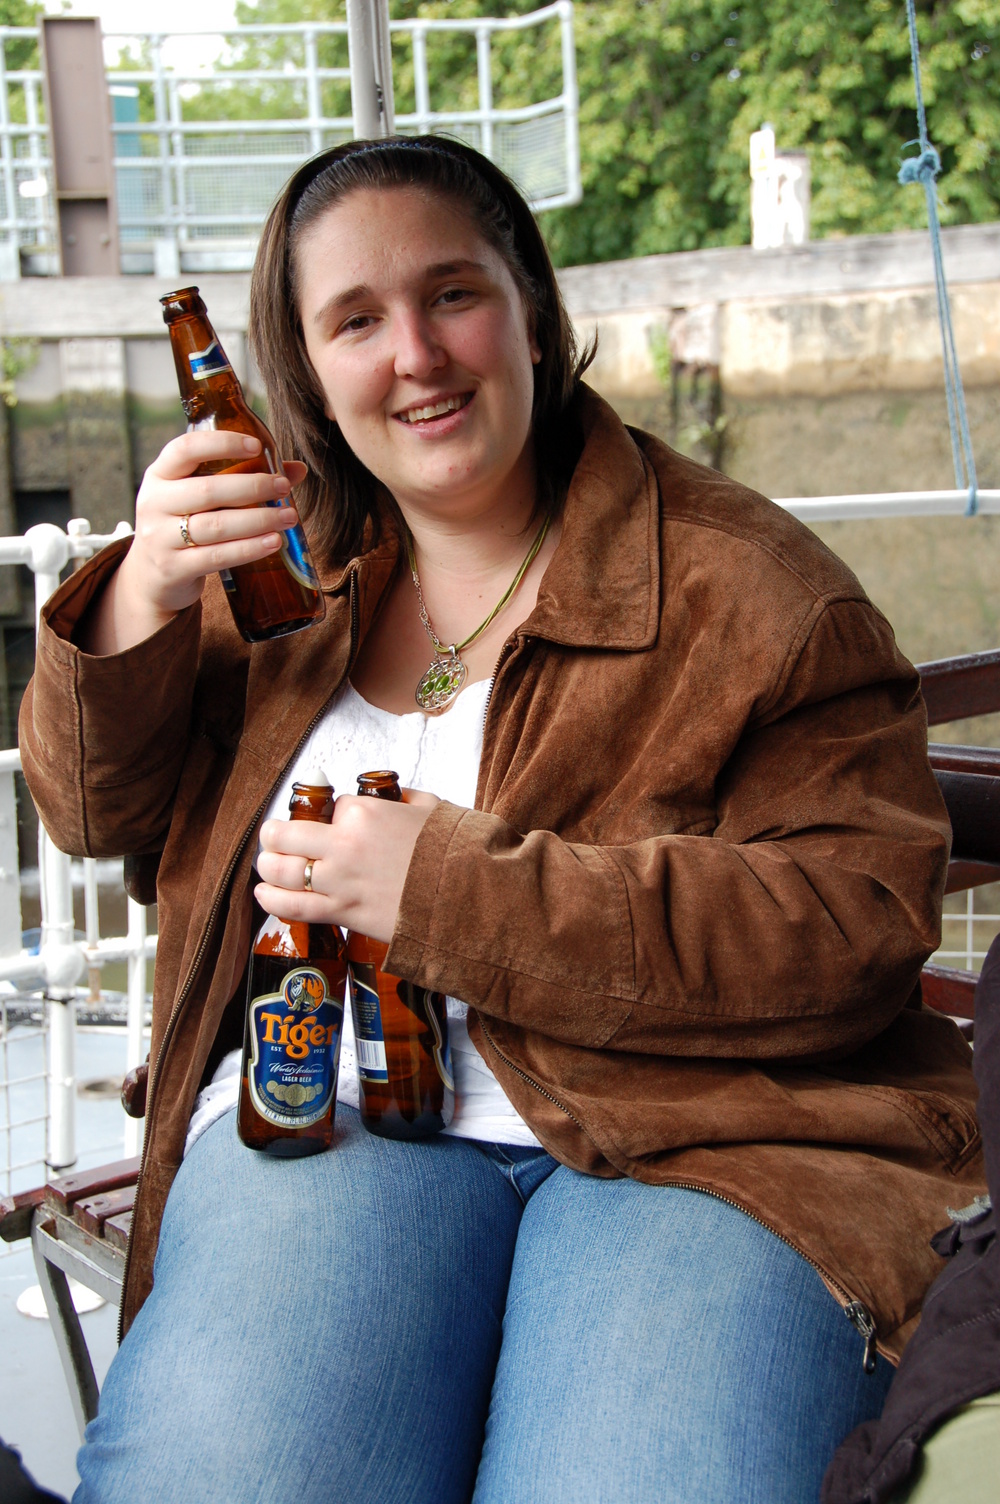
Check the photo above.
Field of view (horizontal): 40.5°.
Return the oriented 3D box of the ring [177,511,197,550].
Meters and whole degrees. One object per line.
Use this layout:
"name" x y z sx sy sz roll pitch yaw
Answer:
"ring" -0.283 -0.200 1.221 0.021 0.022 0.023 -3 -12 -1
